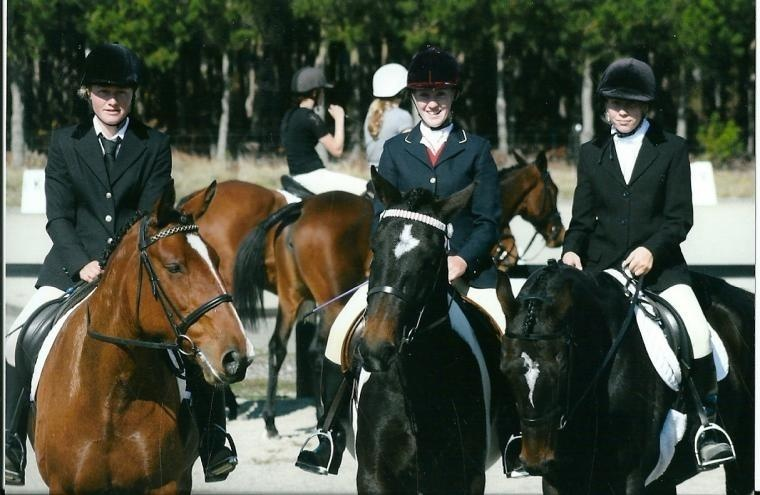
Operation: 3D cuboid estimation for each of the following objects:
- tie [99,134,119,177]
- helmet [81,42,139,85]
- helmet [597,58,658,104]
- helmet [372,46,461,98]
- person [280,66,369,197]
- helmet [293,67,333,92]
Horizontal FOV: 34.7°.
[{"bbox_3d":[-1.866,-0.652,8.476,0.142,0.304,0.036,0,-31,-24],"label":"tie"},{"bbox_3d":[-1.872,-1.256,8.517,0.406,0.433,0.603,-2,4,-15],"label":"helmet"},{"bbox_3d":[1.767,-1.172,8.641,0.416,0.350,0.602,6,1,7],"label":"helmet"},{"bbox_3d":[0.269,-1.299,9.105,0.371,0.246,0.568,16,31,38],"label":"helmet"},{"bbox_3d":[-0.462,-1.027,10.320,0.587,1.171,0.440,-21,33,-31],"label":"person"},{"bbox_3d":[-0.591,-1.411,10.165,0.225,0.156,0.186,-3,21,-15],"label":"helmet"}]
